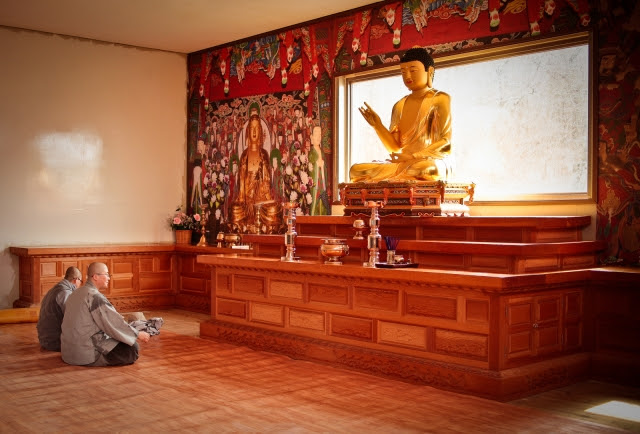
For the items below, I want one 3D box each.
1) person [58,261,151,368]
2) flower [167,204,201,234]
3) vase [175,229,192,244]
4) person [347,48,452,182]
[{"bbox_3d":[-2.067,0.863,3.978,0.870,0.859,0.636,14,13,41],"label":"person"},{"bbox_3d":[-2.363,0.048,7.308,0.456,0.293,0.443,2,4,2],"label":"flower"},{"bbox_3d":[-2.380,0.336,7.259,0.264,0.182,0.242,0,-4,-6],"label":"vase"},{"bbox_3d":[0.963,-1.127,4.701,0.902,1.515,0.440,-3,-5,40],"label":"person"}]
